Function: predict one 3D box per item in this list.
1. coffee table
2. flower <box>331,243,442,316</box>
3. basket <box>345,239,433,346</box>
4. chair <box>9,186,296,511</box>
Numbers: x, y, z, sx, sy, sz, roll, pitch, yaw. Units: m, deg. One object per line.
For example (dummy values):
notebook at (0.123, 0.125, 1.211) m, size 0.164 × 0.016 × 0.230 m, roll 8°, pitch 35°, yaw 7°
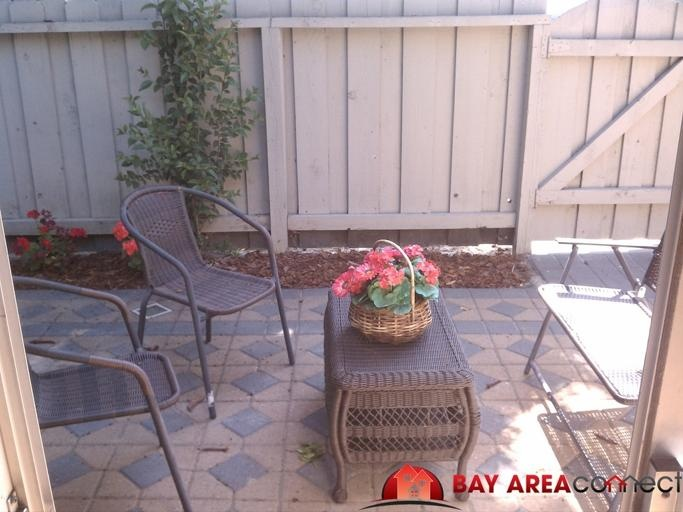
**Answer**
coffee table at (0.232, 0.688, 2.520) m, size 0.668 × 0.508 × 1.070 m, roll -2°, pitch 25°, yaw -3°
flower at (0.184, 0.110, 2.455) m, size 0.368 × 0.109 × 0.361 m, roll 0°, pitch 20°, yaw 38°
basket at (0.202, 0.155, 2.563) m, size 0.493 × 0.436 × 0.394 m, roll -4°, pitch 16°, yaw -23°
chair at (-0.915, 0.321, 2.691) m, size 0.899 × 1.072 × 1.601 m, roll 4°, pitch 20°, yaw 11°
